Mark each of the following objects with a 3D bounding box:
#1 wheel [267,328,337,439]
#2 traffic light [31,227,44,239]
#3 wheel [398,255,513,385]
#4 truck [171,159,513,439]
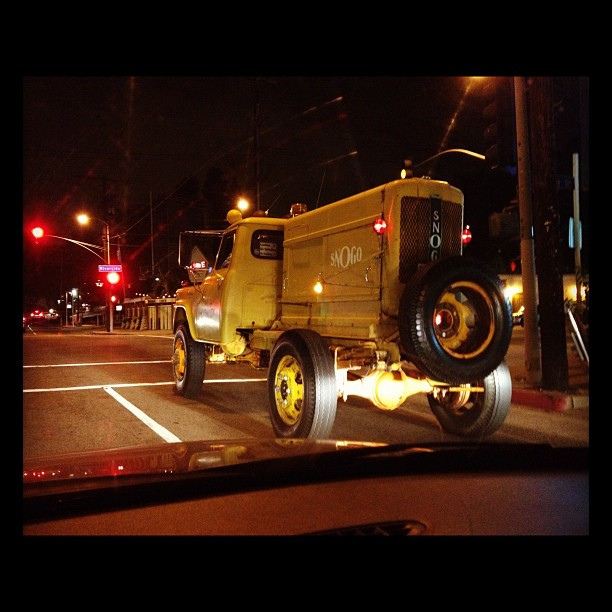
[{"bbox_3d":[-0.032,0.851,5.923,0.312,1.322,0.978,2,-1,-22],"label":"wheel"},{"bbox_3d":[-10.952,-2.847,23.113,0.427,0.598,0.464,-2,6,-16],"label":"traffic light"},{"bbox_3d":[1.389,0.169,5.458,0.919,1.327,0.339,1,1,-22],"label":"wheel"},{"bbox_3d":[0.308,-0.026,7.001,2.198,3.065,4.301,5,1,-30],"label":"truck"}]
